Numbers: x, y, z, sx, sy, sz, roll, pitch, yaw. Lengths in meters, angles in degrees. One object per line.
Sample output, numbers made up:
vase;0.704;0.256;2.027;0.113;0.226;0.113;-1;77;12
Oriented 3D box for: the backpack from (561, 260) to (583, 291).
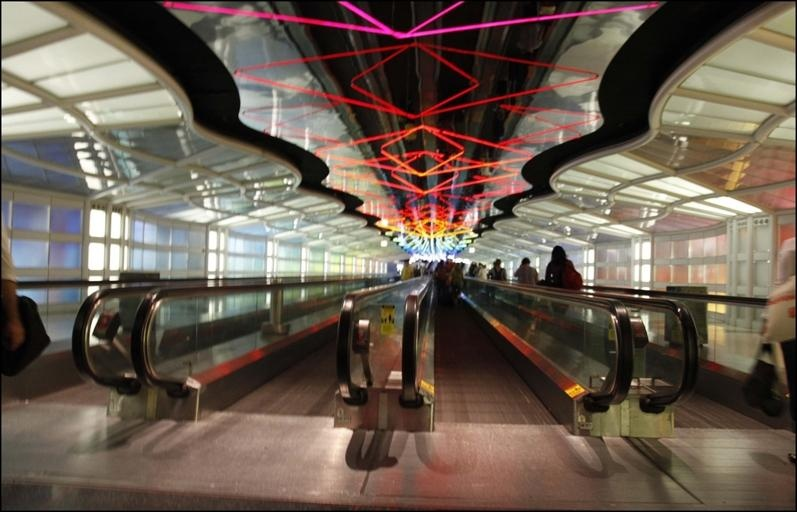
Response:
backpack;3.846;0.431;10.337;0.271;0.597;0.561;-9;-2;39
